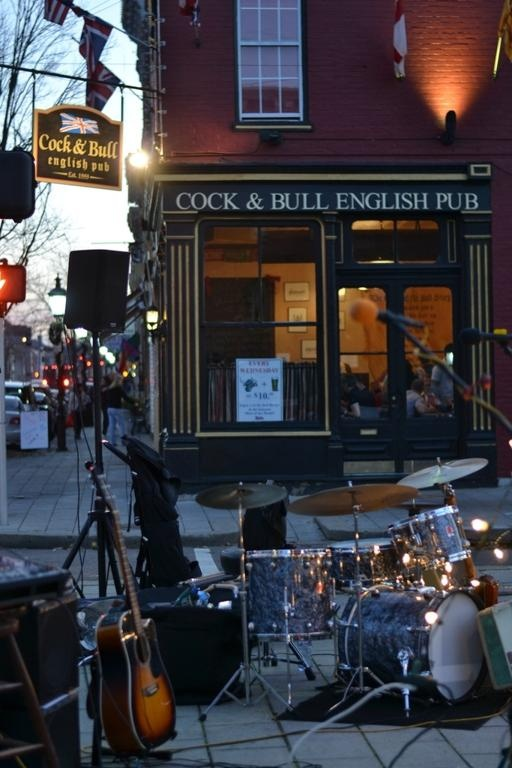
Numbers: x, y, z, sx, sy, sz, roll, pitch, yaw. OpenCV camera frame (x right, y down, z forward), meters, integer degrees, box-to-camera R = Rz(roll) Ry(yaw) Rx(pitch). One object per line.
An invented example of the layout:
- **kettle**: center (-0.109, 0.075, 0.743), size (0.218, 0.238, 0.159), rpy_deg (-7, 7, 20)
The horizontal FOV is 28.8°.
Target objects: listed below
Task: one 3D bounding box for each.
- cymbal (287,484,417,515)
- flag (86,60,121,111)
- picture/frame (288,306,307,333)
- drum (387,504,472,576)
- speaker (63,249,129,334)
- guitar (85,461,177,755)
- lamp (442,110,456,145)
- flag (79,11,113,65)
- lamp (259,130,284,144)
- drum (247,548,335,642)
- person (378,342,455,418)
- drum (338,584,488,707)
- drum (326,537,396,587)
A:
- **cymbal**: center (0.556, 0.623, 5.416), size (0.352, 0.091, 0.360), rpy_deg (5, -26, -26)
- **flag**: center (-1.841, -3.584, 12.029), size (0.391, 0.480, 0.758), rpy_deg (-2, 2, -9)
- **picture/frame**: center (0.536, -0.843, 13.019), size (0.302, 0.461, 0.043), rpy_deg (1, -5, -13)
- **drum**: center (1.005, 0.837, 5.677), size (0.357, 0.274, 0.349), rpy_deg (-22, -11, -5)
- **speaker**: center (-1.063, -0.619, 6.673), size (0.435, 0.431, 0.339), rpy_deg (-2, 1, -10)
- **guitar**: center (-0.542, 1.091, 4.478), size (0.340, 0.910, 0.768), rpy_deg (-2, 1, -6)
- **lamp**: center (2.545, -3.369, 13.088), size (0.194, 0.446, 0.342), rpy_deg (-1, 1, 11)
- **flag**: center (-1.912, -4.123, 11.929), size (0.345, 0.453, 0.601), rpy_deg (-2, 2, -16)
- **lamp**: center (0.193, -3.189, 12.881), size (0.262, 0.125, 0.247), rpy_deg (-1, 2, 16)
- **drum**: center (0.203, 1.085, 5.272), size (0.410, 0.463, 0.433), rpy_deg (-3, -6, 10)
- **person**: center (1.935, -0.010, 12.306), size (0.868, 0.918, 0.524), rpy_deg (0, -4, -10)
- **drum**: center (0.828, 1.337, 5.178), size (0.684, 0.538, 0.449), rpy_deg (-1, 2, 26)
- **drum**: center (0.641, 1.051, 5.983), size (0.325, 0.231, 0.344), rpy_deg (-5, -10, -1)
